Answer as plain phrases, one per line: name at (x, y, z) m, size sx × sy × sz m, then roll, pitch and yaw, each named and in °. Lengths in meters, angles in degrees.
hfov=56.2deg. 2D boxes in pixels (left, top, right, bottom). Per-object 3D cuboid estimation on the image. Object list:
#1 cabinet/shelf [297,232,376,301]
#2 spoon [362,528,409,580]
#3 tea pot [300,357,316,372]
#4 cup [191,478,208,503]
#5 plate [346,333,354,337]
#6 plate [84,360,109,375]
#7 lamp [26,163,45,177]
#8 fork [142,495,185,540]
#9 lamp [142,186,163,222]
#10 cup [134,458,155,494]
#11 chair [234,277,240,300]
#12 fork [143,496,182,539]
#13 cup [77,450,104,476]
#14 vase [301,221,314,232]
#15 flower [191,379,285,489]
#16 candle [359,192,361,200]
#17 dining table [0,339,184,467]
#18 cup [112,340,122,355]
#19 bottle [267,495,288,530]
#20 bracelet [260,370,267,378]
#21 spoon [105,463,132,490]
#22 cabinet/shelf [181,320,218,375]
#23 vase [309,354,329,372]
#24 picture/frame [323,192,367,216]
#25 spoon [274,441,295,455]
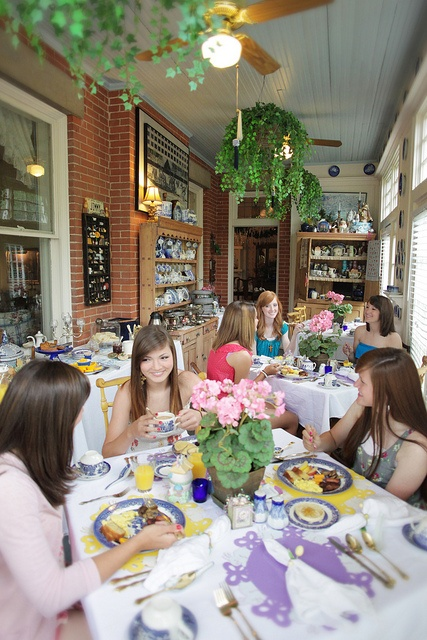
cabinet/shelf at (2.012, -0.898, 6.475) m, size 1.220 × 1.470 × 0.491 m, roll 2°, pitch 4°, yaw 15°
spoon at (0.388, 0.550, 0.941) m, size 0.146 × 0.026 × 0.021 m, roll 34°, pitch 15°, yaw -11°
tea pot at (0.689, 0.323, 2.901) m, size 0.074 × 0.110 × 0.104 m, roll 0°, pitch -1°, yaw -10°
cup at (-0.039, 0.489, 1.145) m, size 0.049 × 0.063 × 0.055 m, roll 1°, pitch -2°, yaw 3°
plate at (1.509, 0.156, 4.382) m, size 0.050 × 0.017 × 0.054 m, roll 3°, pitch 11°, yaw 43°
plate at (-0.791, 0.323, 2.684) m, size 0.146 × 0.036 × 0.163 m, roll 1°, pitch 11°, yaw 0°
lamp at (-1.383, -1.169, 3.105) m, size 0.085 × 0.093 × 0.088 m, roll 24°, pitch 39°, yaw 33°
fork at (-0.142, 0.504, 1.038) m, size 0.041 × 0.038 × 0.238 m, roll 0°, pitch -2°, yaw -23°
lamp at (-0.632, -1.169, 4.070) m, size 0.173 × 0.345 × 0.314 m, roll 1°, pitch 5°, yaw -9°
cup at (-0.197, 0.453, 1.157) m, size 0.065 × 0.081 × 0.070 m, roll 0°, pitch -3°, yaw 0°
chair at (0.474, -0.650, 8.143) m, size 0.104 × 0.435 × 0.171 m, roll 2°, pitch 6°, yaw 6°
fork at (-0.138, 0.482, 1.045) m, size 0.039 × 0.041 × 0.234 m, roll 6°, pitch 3°, yaw -21°
cup at (-0.382, 0.449, 1.246) m, size 0.067 × 0.070 × 0.072 m, roll 2°, pitch -2°, yaw 0°
vase at (1.543, -1.521, 6.599) m, size 0.157 × 0.234 × 0.166 m, roll 2°, pitch 2°, yaw -2°
flower at (0.061, 0.316, 1.070) m, size 0.212 × 0.318 × 0.231 m, roll -7°, pitch 29°, yaw -16°
candle at (2.436, -2.058, 6.649) m, size 0.030 × 0.130 × 0.010 m, roll 2°, pitch 6°, yaw 4°
dining table at (-0.732, 0.356, 2.754) m, size 0.757 × 1.205 × 0.795 m, roll 2°, pitch 3°, yaw 44°
cup at (-0.770, 0.216, 3.135) m, size 0.064 × 0.106 × 0.101 m, roll 1°, pitch -3°, yaw 3°
bottle at (0.161, 0.492, 1.010) m, size 0.060 × 0.074 × 0.060 m, roll -1°, pitch 3°, yaw -19°
bracelet at (0.336, 0.365, 2.695) m, size 0.010 × 0.042 × 0.040 m, roll -22°, pitch 11°, yaw -2°
spoon at (-0.298, 0.491, 1.252) m, size 0.020 × 0.022 × 0.088 m, roll 2°, pitch 18°, yaw 27°
cabinet/shelf at (-0.171, 0.274, 4.086) m, size 0.214 × 0.561 × 0.567 m, roll 1°, pitch 6°, yaw 18°
vase at (0.778, 0.312, 2.951) m, size 0.119 × 0.127 × 0.125 m, roll 1°, pitch -2°, yaw -5°
picture/frame at (2.191, -1.937, 6.703) m, size 0.720 × 0.406 × 0.091 m, roll 3°, pitch 6°, yaw 11°
spoon at (0.261, 0.474, 1.461) m, size 0.035 × 0.026 × 0.155 m, roll 10°, pitch 4°, yaw 28°
